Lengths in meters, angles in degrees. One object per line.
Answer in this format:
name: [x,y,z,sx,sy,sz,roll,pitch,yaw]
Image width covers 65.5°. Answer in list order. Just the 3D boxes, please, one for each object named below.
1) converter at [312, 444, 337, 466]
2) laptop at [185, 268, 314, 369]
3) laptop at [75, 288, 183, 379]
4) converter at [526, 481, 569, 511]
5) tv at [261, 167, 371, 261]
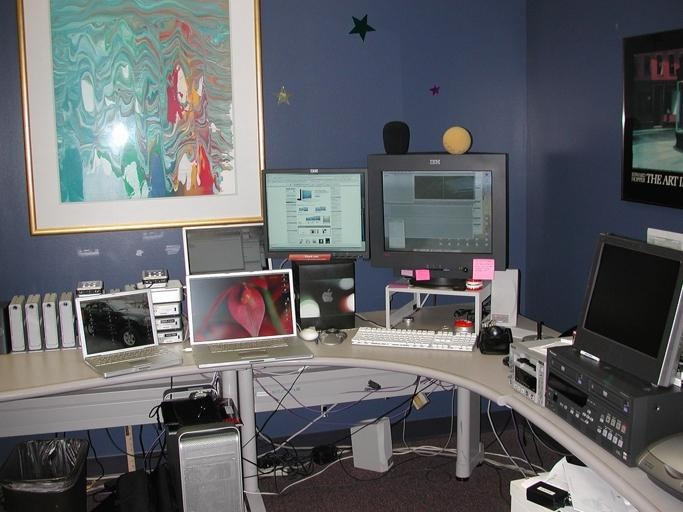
converter: [-0.100,1.193,3.232,0.135,0.133,0.096,3,-4,-27]
laptop: [-0.529,0.295,2.743,0.533,0.349,0.480,-3,10,-17]
laptop: [-1.079,0.311,2.608,0.395,0.330,0.442,-4,6,-33]
converter: [0.777,0.895,2.014,0.075,0.037,0.106,-11,17,-43]
tv: [-0.129,-0.242,2.947,0.476,0.434,0.054,0,11,3]
